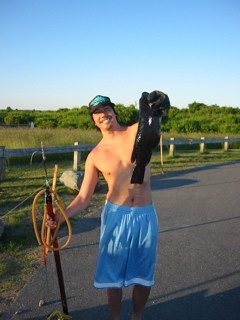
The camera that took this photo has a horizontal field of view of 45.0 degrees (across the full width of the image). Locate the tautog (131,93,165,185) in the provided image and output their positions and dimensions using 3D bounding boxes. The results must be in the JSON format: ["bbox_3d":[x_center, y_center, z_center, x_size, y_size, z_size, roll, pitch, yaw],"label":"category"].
[{"bbox_3d":[0.185,-0.114,1.769,0.238,0.601,0.449,-1,6,1],"label":"tautog"}]

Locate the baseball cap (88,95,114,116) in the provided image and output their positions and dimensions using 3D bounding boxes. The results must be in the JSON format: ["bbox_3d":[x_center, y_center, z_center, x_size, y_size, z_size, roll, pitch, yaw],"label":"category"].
[{"bbox_3d":[-0.125,-0.386,2.039,0.182,0.131,0.193,-2,6,-6],"label":"baseball cap"}]
